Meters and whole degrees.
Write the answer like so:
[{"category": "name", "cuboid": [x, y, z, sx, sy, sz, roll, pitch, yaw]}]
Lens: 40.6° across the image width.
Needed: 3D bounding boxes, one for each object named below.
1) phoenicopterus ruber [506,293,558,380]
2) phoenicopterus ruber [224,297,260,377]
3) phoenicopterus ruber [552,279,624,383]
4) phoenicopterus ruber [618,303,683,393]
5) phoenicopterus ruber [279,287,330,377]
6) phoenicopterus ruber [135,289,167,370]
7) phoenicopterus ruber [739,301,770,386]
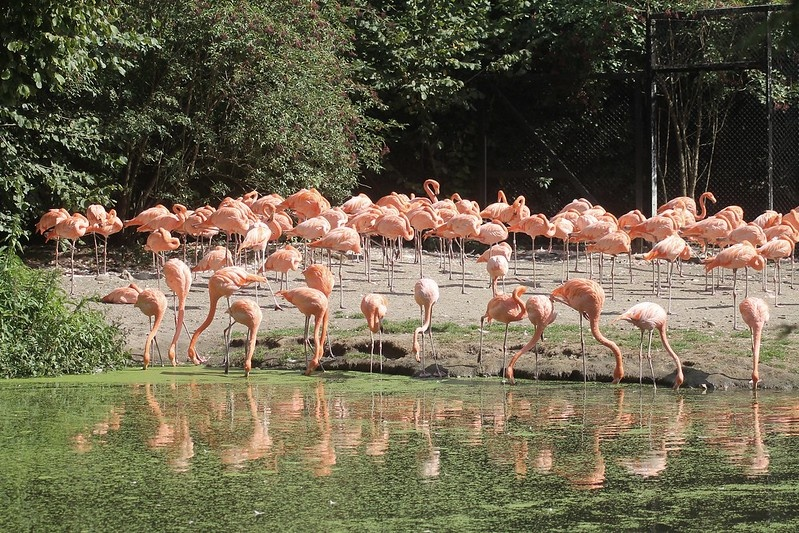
[{"category": "phoenicopterus ruber", "cuboid": [1.504, 0.742, 12.317, 0.533, 0.956, 1.112, 1, 13, 6]}, {"category": "phoenicopterus ruber", "cuboid": [-1.868, 0.736, 12.794, 0.440, 0.963, 1.348, -3, 13, -8]}, {"category": "phoenicopterus ruber", "cuboid": [2.198, 0.787, 12.603, 1.183, 1.512, 0.497, 0, 2, 17]}, {"category": "phoenicopterus ruber", "cuboid": [2.846, 0.948, 12.213, 0.877, 1.098, 0.405, -12, 26, -10]}, {"category": "phoenicopterus ruber", "cuboid": [-1.115, 0.697, 12.648, 0.543, 1.012, 1.160, -2, 13, -6]}, {"category": "phoenicopterus ruber", "cuboid": [-3.032, 0.674, 13.136, 0.348, 1.037, 1.291, -4, 13, -14]}, {"category": "phoenicopterus ruber", "cuboid": [3.948, 0.774, 11.995, 0.288, 0.924, 1.011, 4, 13, 18]}]
